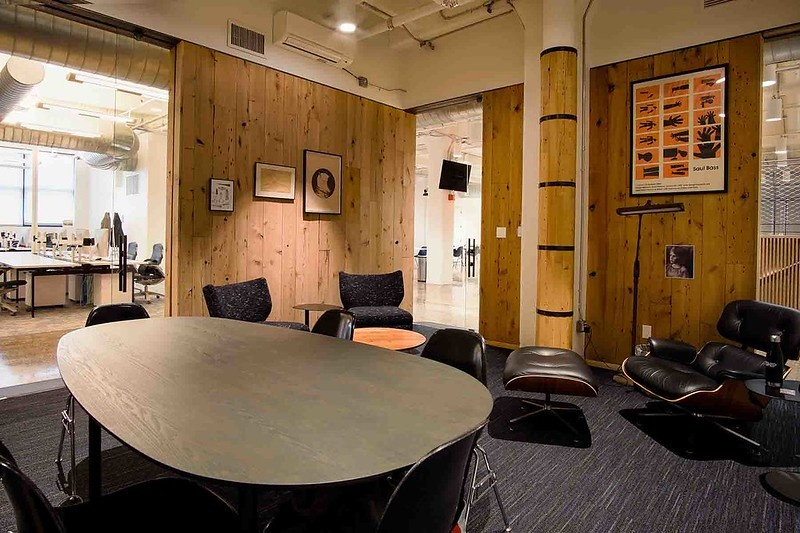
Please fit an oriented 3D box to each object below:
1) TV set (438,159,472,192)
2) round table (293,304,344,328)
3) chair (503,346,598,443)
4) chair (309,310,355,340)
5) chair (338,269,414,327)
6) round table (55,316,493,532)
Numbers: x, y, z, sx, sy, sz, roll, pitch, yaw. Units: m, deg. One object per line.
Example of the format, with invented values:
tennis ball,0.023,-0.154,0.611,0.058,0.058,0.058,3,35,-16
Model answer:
TV set,0.905,-1.438,8.523,0.532,0.501,0.076,7,-4,-25
round table,-1.139,0.543,6.893,0.541,0.364,0.540,0,3,0
chair,1.480,1.232,5.341,0.994,0.693,1.007,6,13,28
chair,-0.580,0.507,4.676,0.284,0.393,0.267,-1,-7,36
chair,-0.345,0.626,7.297,0.876,1.154,1.033,-1,-2,-17
round table,-0.803,0.880,3.504,1.335,1.295,2.373,-2,6,-45
